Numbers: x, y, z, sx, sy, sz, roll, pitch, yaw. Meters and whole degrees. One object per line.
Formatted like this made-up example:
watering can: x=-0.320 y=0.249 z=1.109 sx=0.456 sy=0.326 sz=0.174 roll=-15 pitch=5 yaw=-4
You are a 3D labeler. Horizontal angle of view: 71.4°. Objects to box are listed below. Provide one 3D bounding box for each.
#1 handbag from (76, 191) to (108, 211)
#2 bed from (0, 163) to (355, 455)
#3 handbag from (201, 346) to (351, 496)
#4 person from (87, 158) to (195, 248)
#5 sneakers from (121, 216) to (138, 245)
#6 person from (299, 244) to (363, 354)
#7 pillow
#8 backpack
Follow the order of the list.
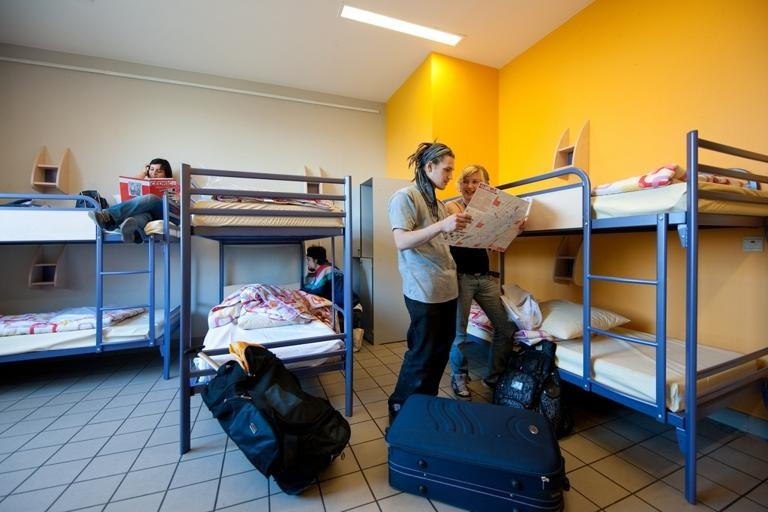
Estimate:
handbag: x=-3.122 y=-0.627 z=5.672 sx=0.263 sy=0.342 sz=0.115 roll=-5 pitch=-31 yaw=-46
bed: x=-2.111 y=0.528 z=5.095 sx=2.851 sy=1.935 sz=1.109 roll=-1 pitch=1 yaw=-21
handbag: x=-0.937 y=1.230 z=4.476 sx=1.289 sy=0.497 sz=0.885 roll=30 pitch=30 yaw=26
person: x=-2.509 y=-0.661 z=5.623 sx=0.549 sy=0.750 sz=1.347 roll=-2 pitch=12 yaw=0
sneakers: x=-2.446 y=-0.243 z=5.135 sx=0.103 sy=0.293 sz=0.126 roll=-16 pitch=53 yaw=-45
person: x=-0.669 y=0.425 z=6.275 sx=0.638 sy=1.017 sz=0.737 roll=-6 pitch=5 yaw=-22
pillow: x=1.760 y=0.635 z=5.030 sx=0.820 sy=0.216 sz=0.783 roll=-13 pitch=5 yaw=-25
backpack: x=1.368 y=1.083 z=4.815 sx=0.478 sy=0.599 sz=0.653 roll=8 pitch=7 yaw=36
